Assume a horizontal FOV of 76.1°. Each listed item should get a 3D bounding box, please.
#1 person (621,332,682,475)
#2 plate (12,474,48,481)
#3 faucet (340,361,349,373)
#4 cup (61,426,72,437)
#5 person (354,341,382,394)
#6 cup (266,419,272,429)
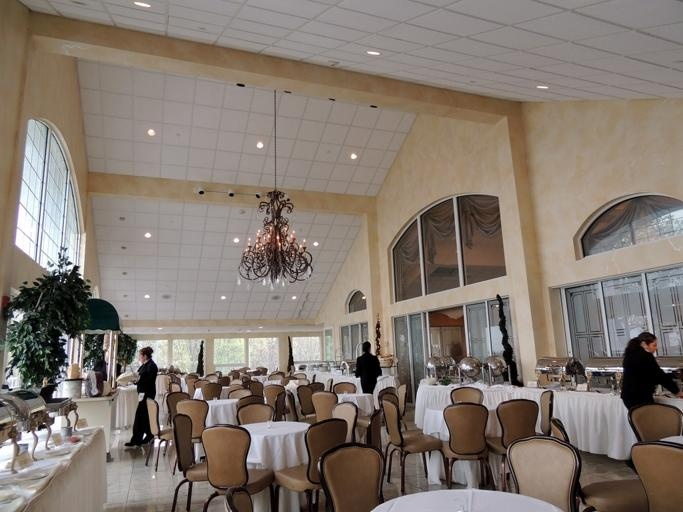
[{"bbox_3d":[3.503,1.311,4.997,0.533,0.845,0.323,-8,-13,28],"label":"person"},{"bbox_3d":[-2.320,1.640,3.243,0.139,0.033,0.095,3,-8,-10],"label":"plate"},{"bbox_3d":[0.120,3.038,11.824,0.225,0.348,0.259,0,-16,1],"label":"faucet"},{"bbox_3d":[-2.783,1.784,4.430,0.079,0.091,0.085,0,-19,0],"label":"cup"},{"bbox_3d":[0.519,2.256,8.158,0.501,1.302,0.351,-2,15,-4],"label":"person"},{"bbox_3d":[-0.811,1.913,4.947,0.049,0.060,0.050,1,-5,0],"label":"cup"}]
